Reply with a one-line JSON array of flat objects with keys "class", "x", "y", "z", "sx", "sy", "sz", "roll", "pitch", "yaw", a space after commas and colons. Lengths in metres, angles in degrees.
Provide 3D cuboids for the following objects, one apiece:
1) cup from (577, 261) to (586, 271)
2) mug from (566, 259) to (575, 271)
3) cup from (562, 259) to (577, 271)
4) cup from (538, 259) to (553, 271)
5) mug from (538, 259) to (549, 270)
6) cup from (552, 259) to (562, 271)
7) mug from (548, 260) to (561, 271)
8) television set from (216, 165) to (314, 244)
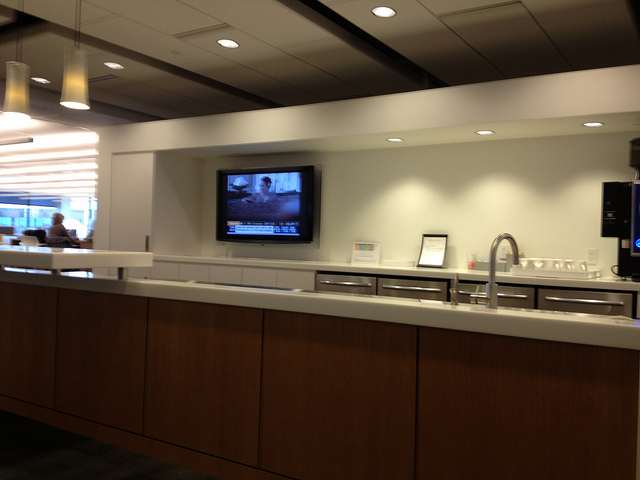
[{"class": "cup", "x": 2.368, "y": 0.238, "z": 4.516, "sx": 0.072, "sy": 0.109, "sz": 0.077, "roll": 2, "pitch": 0, "yaw": 0}, {"class": "mug", "x": 2.333, "y": 0.233, "z": 4.612, "sx": 0.072, "sy": 0.118, "sz": 0.072, "roll": 1, "pitch": 1, "yaw": 7}, {"class": "cup", "x": 2.291, "y": 0.231, "z": 4.591, "sx": 0.105, "sy": 0.097, "sz": 0.105, "roll": 0, "pitch": 0, "yaw": 0}, {"class": "cup", "x": 2.100, "y": 0.228, "z": 4.636, "sx": 0.092, "sy": 0.078, "sz": 0.104, "roll": 4, "pitch": -7, "yaw": -28}, {"class": "mug", "x": 2.081, "y": 0.229, "z": 4.648, "sx": 0.092, "sy": 0.103, "sz": 0.094, "roll": 6, "pitch": -6, "yaw": -32}, {"class": "cup", "x": 2.188, "y": 0.224, "z": 4.604, "sx": 0.092, "sy": 0.106, "sz": 0.095, "roll": 0, "pitch": -4, "yaw": 0}, {"class": "mug", "x": 2.159, "y": 0.234, "z": 4.590, "sx": 0.080, "sy": 0.076, "sz": 0.080, "roll": -3, "pitch": 2, "yaw": 4}, {"class": "television set", "x": -0.651, "y": -0.459, "z": 6.336, "sx": 1.027, "sy": 0.722, "sz": 0.105, "roll": 1, "pitch": 0, "yaw": 21}]
